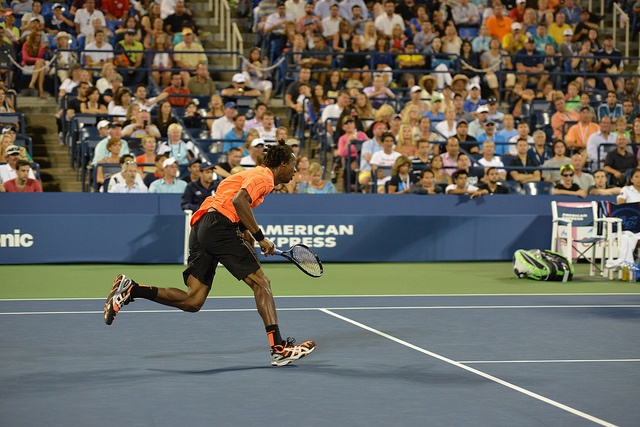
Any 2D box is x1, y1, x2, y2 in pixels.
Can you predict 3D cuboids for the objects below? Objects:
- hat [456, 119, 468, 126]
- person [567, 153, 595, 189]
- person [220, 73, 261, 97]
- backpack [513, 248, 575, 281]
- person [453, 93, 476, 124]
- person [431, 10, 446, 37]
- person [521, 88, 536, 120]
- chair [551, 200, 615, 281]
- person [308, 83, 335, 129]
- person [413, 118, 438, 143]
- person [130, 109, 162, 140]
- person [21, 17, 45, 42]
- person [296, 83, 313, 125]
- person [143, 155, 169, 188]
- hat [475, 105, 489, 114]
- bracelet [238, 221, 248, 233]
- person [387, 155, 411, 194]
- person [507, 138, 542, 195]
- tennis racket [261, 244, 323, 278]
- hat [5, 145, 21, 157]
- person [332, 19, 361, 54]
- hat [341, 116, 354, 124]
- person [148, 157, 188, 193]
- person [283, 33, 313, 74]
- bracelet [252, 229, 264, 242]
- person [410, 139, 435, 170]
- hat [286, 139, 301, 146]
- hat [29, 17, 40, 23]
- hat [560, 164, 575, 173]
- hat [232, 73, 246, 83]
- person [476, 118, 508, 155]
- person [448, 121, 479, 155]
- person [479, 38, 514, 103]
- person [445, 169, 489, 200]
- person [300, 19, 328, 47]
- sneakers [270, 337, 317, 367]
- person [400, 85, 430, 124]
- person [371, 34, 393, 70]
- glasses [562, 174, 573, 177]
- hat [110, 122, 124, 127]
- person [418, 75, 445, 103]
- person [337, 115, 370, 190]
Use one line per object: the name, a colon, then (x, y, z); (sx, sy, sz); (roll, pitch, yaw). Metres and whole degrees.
hat: (3.197, -2.086, 20.368); (0.198, 0.138, 0.408); (2, 8, 8)
person: (5.747, -0.939, 19.926); (0.906, 0.733, 0.431); (-3, 0, -25)
person: (-1.988, -3.195, 22.112); (0.600, 0.389, 0.844); (-2, 10, -16)
backpack: (4.132, 0.955, 17.059); (0.695, 0.368, 0.769); (2, 7, -26)
person: (3.448, -2.578, 21.783); (0.507, 0.669, 0.825); (1, 8, 1)
person: (3.320, -5.412, 25.473); (0.451, 0.798, 0.319); (-5, -3, -10)
person: (5.353, -2.904, 23.375); (0.302, 0.708, 1.059); (2, 8, 13)
chair: (5.165, 0.471, 17.855); (1.053, 1.345, 1.033); (1, -1, 3)
person: (-0.109, -2.641, 21.688); (0.697, 0.895, 0.666); (-3, 16, 34)
person: (2.324, -1.887, 20.253); (0.737, 0.611, 0.370); (0, -8, -5)
person: (-3.848, -1.917, 19.592); (0.931, 0.614, 0.494); (0, -4, -18)
person: (-7.274, -4.722, 22.742); (0.539, 0.743, 0.408); (0, 12, -22)
person: (-0.375, -2.659, 21.613); (0.378, 0.920, 0.876); (0, 8, -6)
person: (-3.418, -0.872, 18.700); (0.509, 0.838, 0.450); (9, -27, -25)
hat: (3.762, -2.469, 21.022); (0.177, 0.262, 0.270); (1, -1, 1)
bracelet: (-0.978, 0.164, 11.291); (0.105, 0.102, 0.027); (32, 61, 29)
person: (1.710, -0.848, 19.108); (0.545, 0.774, 0.421); (-1, 8, -11)
person: (4.502, -1.155, 19.795); (0.732, 0.983, 0.533); (0, 8, -4)
tennis racket: (-0.458, 0.776, 14.676); (0.419, 0.112, 1.064); (44, 20, 11)
hat: (-6.149, -1.267, 17.879); (0.354, 0.209, 0.250); (1, 8, 6)
person: (0.667, -4.764, 24.195); (0.720, 0.942, 0.700); (-15, 29, -39)
hat: (0.614, -2.099, 20.033); (0.224, 0.180, 0.286); (-6, 10, -38)
person: (-3.213, -0.803, 18.640); (0.870, 0.600, 0.380); (0, 0, -24)
person: (-0.574, -4.126, 23.061); (0.766, 1.027, 0.761); (10, 20, 26)
bracelet: (-0.761, 0.262, 11.068); (0.145, 0.106, 0.144); (5, 12, 28)
person: (2.172, -1.285, 19.523); (0.782, 0.653, 0.384); (0, -6, -9)
hat: (-0.597, -1.541, 19.192); (0.344, 0.139, 0.469); (0, 2, 0)
hat: (-7.366, -5.040, 23.143); (0.260, 0.124, 0.423); (-5, -7, -13)
hat: (5.270, -0.960, 19.292); (0.262, 0.186, 0.411); (2, 8, 12)
hat: (-2.041, -3.363, 22.135); (0.237, 0.165, 0.311); (-3, 9, -22)
person: (3.920, -1.740, 20.964); (0.986, 0.888, 0.545); (2, 1, -11)
person: (3.226, -1.680, 20.428); (0.749, 1.014, 0.609); (-1, 0, -2)
person: (4.779, -3.967, 24.297); (0.941, 1.588, 1.328); (2, 8, 10)
person: (3.068, -0.656, 19.364); (0.582, 0.365, 0.760); (-3, -2, -6)
person: (-0.250, -4.785, 23.859); (0.628, 0.794, 0.360); (2, -10, 6)
sneakers: (-0.380, 1.669, 11.064); (0.636, 0.293, 0.239); (-20, 6, -1)
person: (2.314, -2.664, 21.660); (0.724, 0.969, 0.586); (7, 17, 27)
person: (1.638, -4.311, 23.781); (0.498, 0.830, 1.258); (1, 8, 5)
glasses: (5.255, -0.837, 19.215); (0.207, 0.101, 0.133); (2, 8, 14)
hat: (-4.365, -1.927, 19.226); (0.250, 0.115, 0.369); (0, -3, -23)
person: (2.702, -3.188, 22.721); (0.606, 0.267, 0.702); (-1, -32, 3)
person: (0.792, -1.337, 20.170); (0.814, 1.669, 0.853); (-12, 21, -1)
